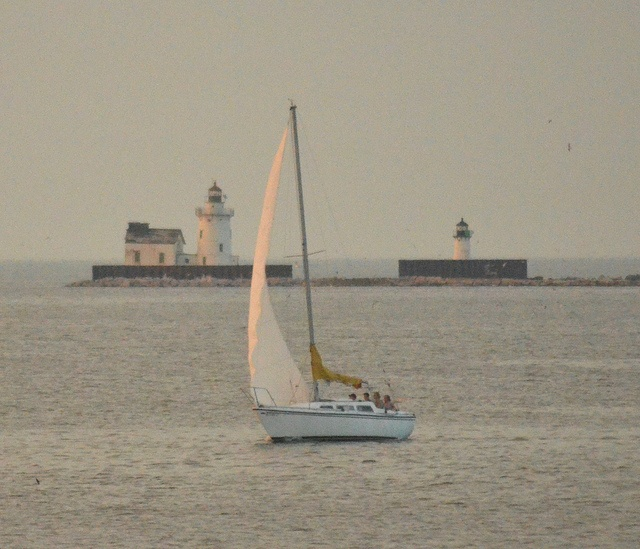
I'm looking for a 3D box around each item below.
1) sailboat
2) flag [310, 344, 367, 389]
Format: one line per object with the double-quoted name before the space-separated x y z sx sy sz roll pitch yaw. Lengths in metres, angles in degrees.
"sailboat" 0.266 0.378 71.013 5.547 11.050 2.184 -1 -8 -10
"flag" 0.659 3.168 70.458 1.475 1.655 1.532 -8 3 -45
